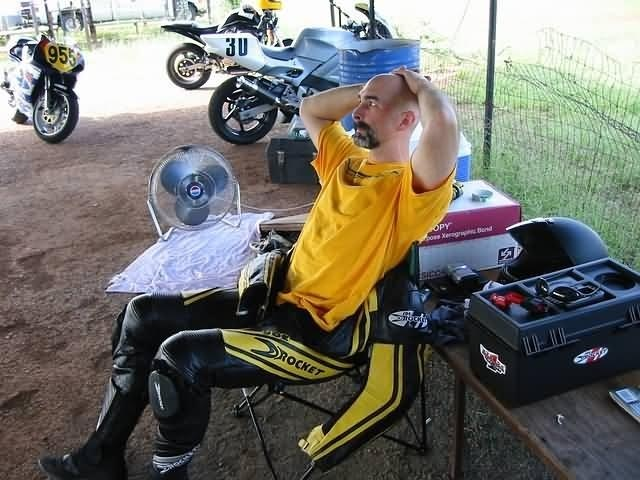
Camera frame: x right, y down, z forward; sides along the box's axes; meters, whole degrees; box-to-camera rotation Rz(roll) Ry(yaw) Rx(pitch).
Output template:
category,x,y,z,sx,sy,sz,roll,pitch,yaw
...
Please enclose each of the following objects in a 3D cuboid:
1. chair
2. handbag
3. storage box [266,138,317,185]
category,x,y,z,sx,sy,sz,roll,pitch,yaw
chair,0.053,0.539,2.206,0.795,1.077,0.768,-7,18,-20
handbag,-0.251,0.194,2.355,0.164,0.153,0.428,-9,38,25
storage box,-0.293,-0.862,5.411,0.735,0.531,0.468,1,28,-3
